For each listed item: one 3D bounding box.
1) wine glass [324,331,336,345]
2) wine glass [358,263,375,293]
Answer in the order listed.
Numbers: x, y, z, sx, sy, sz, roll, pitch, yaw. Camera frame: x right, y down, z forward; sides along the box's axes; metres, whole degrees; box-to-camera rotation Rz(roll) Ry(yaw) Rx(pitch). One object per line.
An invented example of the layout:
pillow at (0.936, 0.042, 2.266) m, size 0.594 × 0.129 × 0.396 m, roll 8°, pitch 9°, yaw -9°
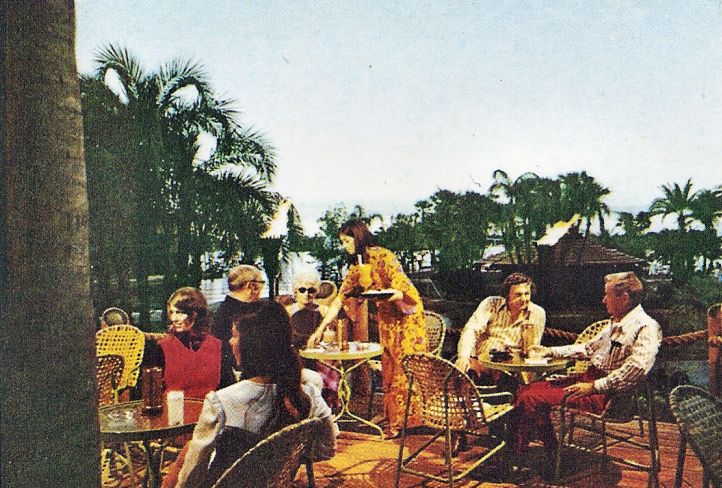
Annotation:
wine glass at (-0.283, 0.865, 7.911) m, size 0.102 × 0.122 × 0.112 m, roll 0°, pitch 3°, yaw 10°
wine glass at (0.049, 0.305, 7.963) m, size 0.132 × 0.243 × 0.085 m, roll -4°, pitch -3°, yaw 16°
